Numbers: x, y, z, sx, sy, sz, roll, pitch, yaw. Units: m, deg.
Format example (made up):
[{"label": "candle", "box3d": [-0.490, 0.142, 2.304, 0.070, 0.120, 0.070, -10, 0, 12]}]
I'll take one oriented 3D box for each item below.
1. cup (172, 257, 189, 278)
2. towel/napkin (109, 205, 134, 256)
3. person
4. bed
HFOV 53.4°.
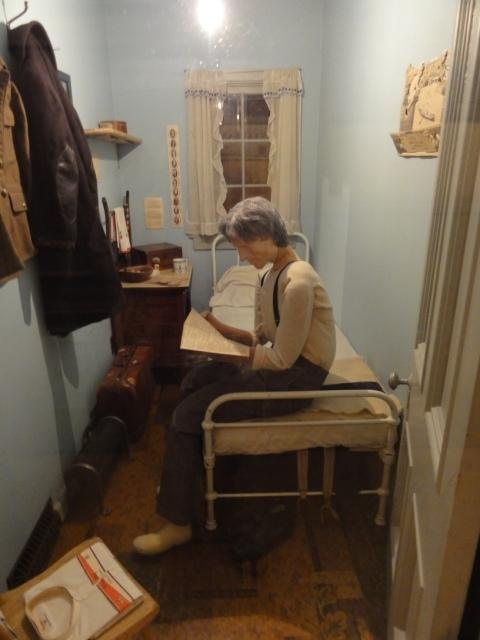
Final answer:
[{"label": "cup", "box3d": [-0.256, -0.228, 2.076, 0.073, 0.076, 0.059, -5, 11, -37]}, {"label": "towel/napkin", "box3d": [-0.531, -0.398, 2.132, 0.087, 0.207, 0.158, -2, 11, -18]}, {"label": "person", "box3d": [-0.103, 0.008, 2.029, 0.756, 1.872, 0.594, 0, 9, 2]}, {"label": "bed", "box3d": [0.183, 0.119, 1.757, 0.412, 0.765, 0.991, 0, 23, 1]}]
